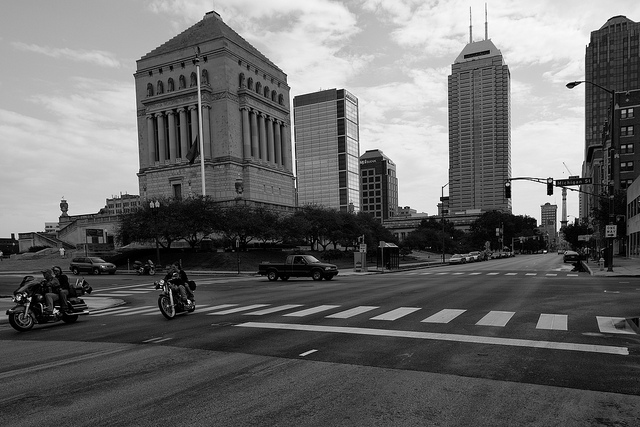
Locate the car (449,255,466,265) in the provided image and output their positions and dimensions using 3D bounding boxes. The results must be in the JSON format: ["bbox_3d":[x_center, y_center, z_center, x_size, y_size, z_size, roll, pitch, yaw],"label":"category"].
[{"bbox_3d":[16.523,5.462,75.784,0.974,0.645,2.152,-6,-11,31],"label":"car"}]

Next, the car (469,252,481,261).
[{"bbox_3d":[21.371,5.901,87.046,1.209,0.785,2.573,-5,-9,31],"label":"car"}]

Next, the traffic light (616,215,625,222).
[{"bbox_3d":[23.035,0.396,48.455,0.762,0.442,0.378,-1,1,-15],"label":"traffic light"}]

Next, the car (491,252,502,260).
[{"bbox_3d":[29.424,7.099,105.865,1.318,0.921,3.043,-7,-8,30],"label":"car"}]

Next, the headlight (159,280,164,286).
[{"bbox_3d":[-6.206,2.714,24.677,0.177,0.198,0.226,-3,4,-15],"label":"headlight"}]

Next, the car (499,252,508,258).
[{"bbox_3d":[35.268,8.018,121.037,1.473,0.693,2.410,2,7,19],"label":"car"}]

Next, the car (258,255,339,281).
[{"bbox_3d":[-1.459,3.680,43.878,5.559,1.644,2.105,-2,2,29],"label":"car"}]

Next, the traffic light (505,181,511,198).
[{"bbox_3d":[12.342,-1.497,41.606,0.253,0.954,0.825,-1,4,17],"label":"traffic light"}]

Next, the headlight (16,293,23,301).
[{"bbox_3d":[-11.236,3.117,23.519,0.296,0.255,0.089,0,-4,-9],"label":"headlight"}]

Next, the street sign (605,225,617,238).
[{"bbox_3d":[19.236,1.199,41.811,0.503,0.874,0.699,1,5,41],"label":"street sign"}]

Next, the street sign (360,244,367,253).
[{"bbox_3d":[3.546,2.927,52.795,0.135,0.928,1.019,-3,-3,28],"label":"street sign"}]

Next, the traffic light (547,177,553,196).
[{"bbox_3d":[14.722,-1.741,40.466,0.307,0.942,1.100,-1,4,18],"label":"traffic light"}]

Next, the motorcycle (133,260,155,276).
[{"bbox_3d":[-15.016,4.679,54.512,2.514,1.309,1.040,-6,3,27],"label":"motorcycle"}]

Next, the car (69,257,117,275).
[{"bbox_3d":[-20.016,4.578,55.254,3.727,1.234,1.680,-5,-8,20],"label":"car"}]

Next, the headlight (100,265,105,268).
[{"bbox_3d":[-18.842,4.568,54.501,0.359,0.215,0.223,-3,4,-18],"label":"headlight"}]
